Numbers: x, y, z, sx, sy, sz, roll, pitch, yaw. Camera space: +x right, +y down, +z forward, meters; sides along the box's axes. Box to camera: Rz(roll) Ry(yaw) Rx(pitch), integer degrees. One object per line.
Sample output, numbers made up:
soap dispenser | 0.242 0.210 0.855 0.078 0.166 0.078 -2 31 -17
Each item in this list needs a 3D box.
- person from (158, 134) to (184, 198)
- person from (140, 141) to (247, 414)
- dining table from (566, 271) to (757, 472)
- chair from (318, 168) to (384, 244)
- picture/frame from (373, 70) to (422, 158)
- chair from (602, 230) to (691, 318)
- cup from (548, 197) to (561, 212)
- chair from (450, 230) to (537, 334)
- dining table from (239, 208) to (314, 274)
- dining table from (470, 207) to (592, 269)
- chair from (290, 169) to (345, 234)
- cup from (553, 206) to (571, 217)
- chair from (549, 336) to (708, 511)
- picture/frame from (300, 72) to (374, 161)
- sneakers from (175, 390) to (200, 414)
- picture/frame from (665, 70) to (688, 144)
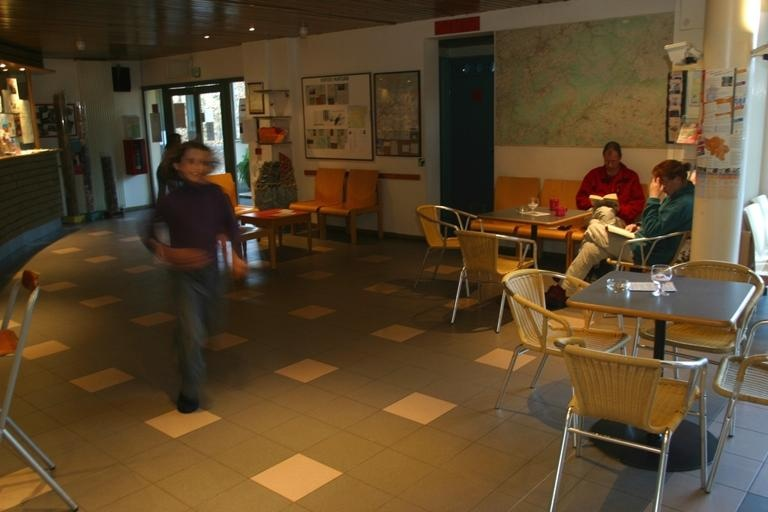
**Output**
person | -1.961 -0.827 4.880 0.243 0.441 0.965 -8 16 -20
person | -1.609 0.190 4.666 0.773 2.333 0.403 -10 18 -22
dining table | 1.987 0.796 4.138 1.382 1.225 1.363 6 16 32
chair | -0.611 -1.009 10.308 0.924 1.276 1.007 11 21 41
picture/frame | 0.234 -2.662 9.958 1.080 1.519 0.188 8 20 34
chair | 2.984 0.076 6.083 0.772 0.872 0.681 13 28 41
cup | 2.419 -0.754 7.661 0.209 0.217 0.210 -1 4 0
chair | 1.211 0.319 6.077 0.981 1.198 0.900 11 24 37
dining table | -1.824 -0.331 9.376 1.158 0.793 1.156 8 12 37
dining table | 2.024 -0.444 7.425 1.017 0.899 1.019 11 20 38
chair | -1.210 -1.241 10.775 1.043 0.910 1.135 9 13 36
cup | 2.451 -0.627 7.386 0.188 0.124 0.177 -1 10 0
chair | 1.694 1.205 3.700 0.913 1.061 0.858 7 22 31
picture/frame | -0.892 -2.858 10.674 2.074 1.913 0.040 3 9 30
sneakers | -1.767 1.299 4.819 0.190 0.174 0.186 3 5 21
picture/frame | 4.008 -2.071 7.376 0.104 0.979 0.279 -12 18 -28
